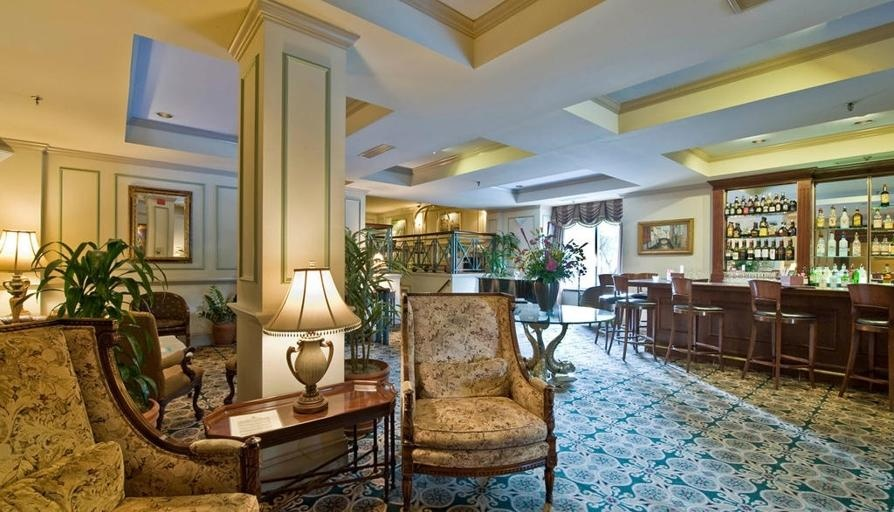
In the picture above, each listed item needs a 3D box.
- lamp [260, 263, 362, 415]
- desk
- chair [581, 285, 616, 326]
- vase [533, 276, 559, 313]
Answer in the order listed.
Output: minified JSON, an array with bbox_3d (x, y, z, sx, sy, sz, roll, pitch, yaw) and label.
[{"bbox_3d":[-1.325,0.812,5.103,0.851,1.409,0.357,-2,0,-17],"label":"lamp"},{"bbox_3d":[1.488,1.169,7.248,1.318,0.596,1.244,2,-3,-14],"label":"desk"},{"bbox_3d":[2.689,0.748,9.292,0.475,0.513,0.439,0,-4,32],"label":"chair"},{"bbox_3d":[1.377,0.541,7.231,0.426,0.434,0.420,1,0,27],"label":"vase"}]
